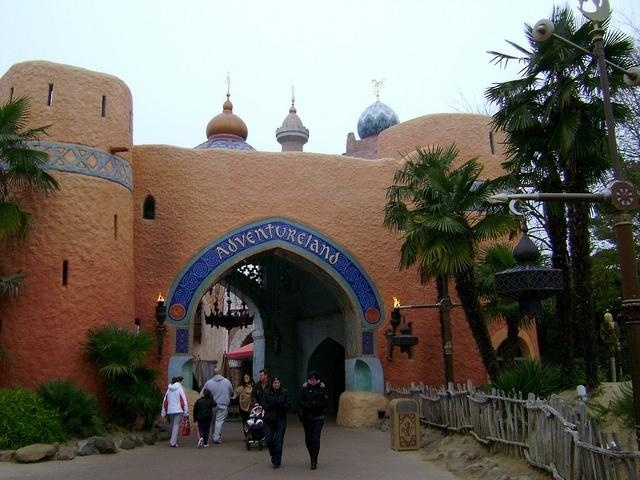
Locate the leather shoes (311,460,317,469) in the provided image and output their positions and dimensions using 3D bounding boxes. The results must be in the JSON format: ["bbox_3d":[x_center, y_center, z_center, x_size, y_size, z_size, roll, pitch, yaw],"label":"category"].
[{"bbox_3d":[-0.101,3.918,10.582,0.105,0.108,0.260,0,-16,-2],"label":"leather shoes"}]

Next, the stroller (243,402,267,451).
[{"bbox_3d":[-1.322,3.852,12.574,0.695,0.782,1.271,0,-27,-2],"label":"stroller"}]

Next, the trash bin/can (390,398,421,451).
[{"bbox_3d":[1.784,3.869,12.746,0.552,1.029,0.472,-3,-15,12],"label":"trash bin/can"}]
